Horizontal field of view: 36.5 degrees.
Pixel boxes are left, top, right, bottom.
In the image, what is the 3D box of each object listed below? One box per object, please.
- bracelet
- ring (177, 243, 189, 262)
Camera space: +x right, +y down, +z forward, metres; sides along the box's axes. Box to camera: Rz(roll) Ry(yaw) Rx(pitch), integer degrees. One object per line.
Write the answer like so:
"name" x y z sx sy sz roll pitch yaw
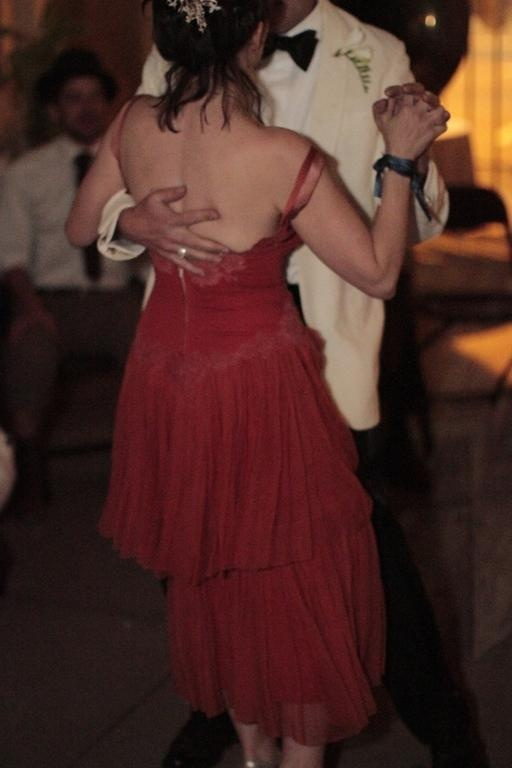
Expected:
"bracelet" 0.187 -0.243 0.976 0.074 0.128 0.159 4 35 12
"ring" -0.086 -0.155 0.915 0.009 0.012 0.012 8 3 0
